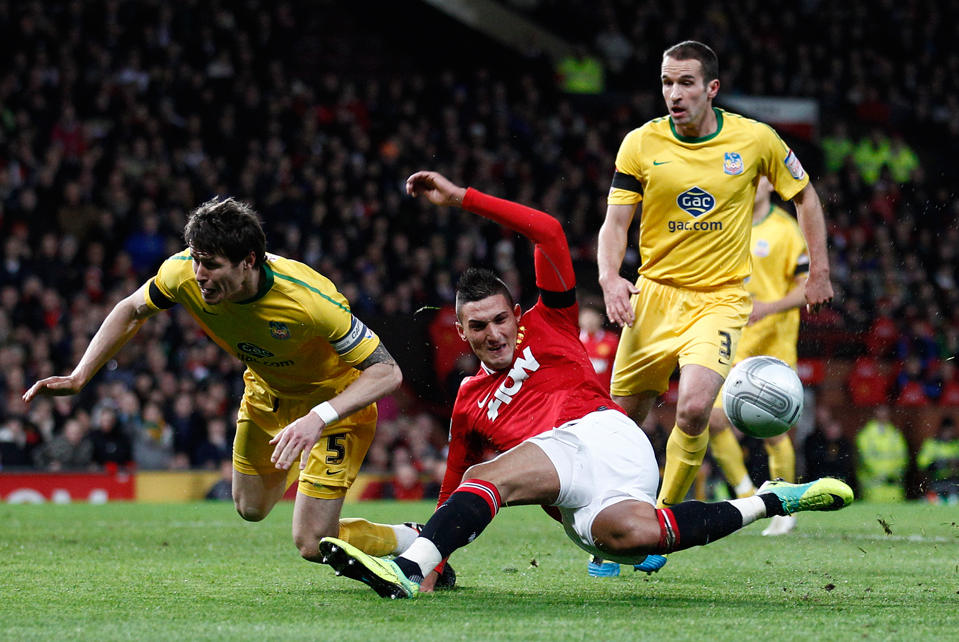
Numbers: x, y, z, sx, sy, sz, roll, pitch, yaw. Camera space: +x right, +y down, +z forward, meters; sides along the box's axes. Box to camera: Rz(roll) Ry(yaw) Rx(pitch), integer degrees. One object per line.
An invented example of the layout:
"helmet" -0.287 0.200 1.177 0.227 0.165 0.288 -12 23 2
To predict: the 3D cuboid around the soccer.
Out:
"soccer" 2.348 0.641 9.793 0.595 0.660 0.606 8 -12 6
